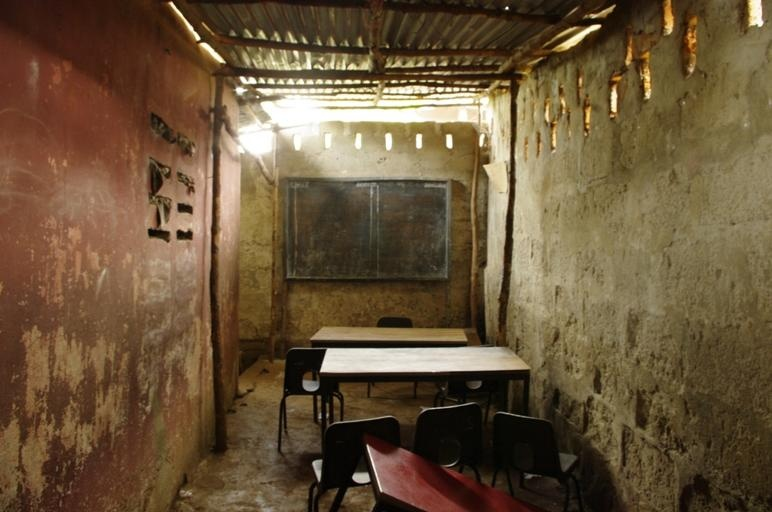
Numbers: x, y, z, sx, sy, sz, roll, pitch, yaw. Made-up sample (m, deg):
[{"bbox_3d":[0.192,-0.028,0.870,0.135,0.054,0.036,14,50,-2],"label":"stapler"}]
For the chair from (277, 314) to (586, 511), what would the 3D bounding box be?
[{"bbox_3d":[0.239,1.557,5.496,1.760,0.929,1.330,0,0,-1],"label":"chair"}]
